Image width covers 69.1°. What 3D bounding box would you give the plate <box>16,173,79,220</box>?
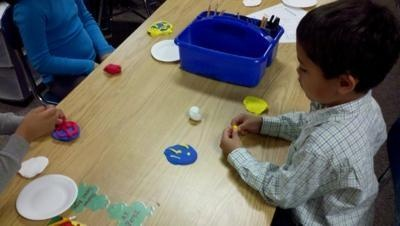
[{"bbox_3d":[-0.718,0.398,1.380,0.273,0.035,0.199,0,56,-1],"label":"plate"}]

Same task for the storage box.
[{"bbox_3d":[0.173,-0.323,1.867,0.587,0.287,0.444,16,53,14],"label":"storage box"}]
